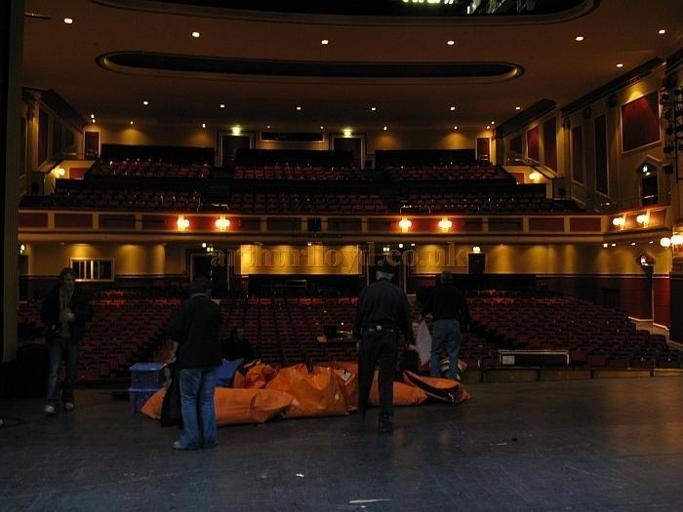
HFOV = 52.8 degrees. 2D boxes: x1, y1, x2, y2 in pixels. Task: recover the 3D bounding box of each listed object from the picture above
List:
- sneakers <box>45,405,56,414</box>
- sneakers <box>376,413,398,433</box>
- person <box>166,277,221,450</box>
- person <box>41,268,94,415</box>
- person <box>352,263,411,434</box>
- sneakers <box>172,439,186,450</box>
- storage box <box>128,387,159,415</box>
[{"bbox_3d":[-3.527,1.865,8.369,0.114,0.102,0.109,0,12,-5],"label":"sneakers"},{"bbox_3d":[0.517,1.836,7.616,0.109,0.197,0.283,2,1,41],"label":"sneakers"},{"bbox_3d":[-1.508,1.191,7.273,0.516,1.449,0.739,-2,12,-13],"label":"person"},{"bbox_3d":[-3.553,1.055,8.735,0.522,1.681,0.875,5,12,19],"label":"person"},{"bbox_3d":[0.455,1.069,7.800,0.644,1.911,0.980,3,12,11],"label":"person"},{"bbox_3d":[-1.655,1.946,7.097,0.149,0.067,0.066,10,-6,0],"label":"sneakers"},{"bbox_3d":[-2.490,1.798,8.563,0.296,0.227,0.303,0,-4,-4],"label":"storage box"}]
